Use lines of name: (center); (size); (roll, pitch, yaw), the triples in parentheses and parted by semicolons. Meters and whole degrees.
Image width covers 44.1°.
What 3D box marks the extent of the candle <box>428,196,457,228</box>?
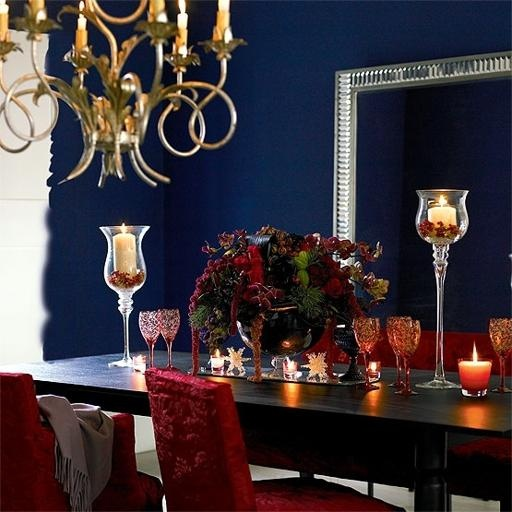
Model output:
candle: (0.545, -0.134, 1.855); (0.072, 0.099, 0.078); (4, 7, 35)

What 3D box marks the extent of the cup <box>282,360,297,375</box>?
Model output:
cup: (0.105, 0.352, 1.990); (0.033, 0.030, 0.033); (0, -1, 0)

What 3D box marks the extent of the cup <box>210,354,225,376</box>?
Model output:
cup: (-0.118, 0.364, 2.097); (0.045, 0.059, 0.045); (1, 1, 0)

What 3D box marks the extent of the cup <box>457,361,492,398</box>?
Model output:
cup: (0.567, 0.316, 1.651); (0.079, 0.105, 0.089); (0, -8, 3)

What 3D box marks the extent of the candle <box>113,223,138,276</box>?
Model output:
candle: (-0.495, -0.010, 2.425); (0.089, 0.163, 0.043); (-1, 3, -17)

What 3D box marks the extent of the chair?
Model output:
chair: (0.017, 0.418, 1.805); (1.401, 0.250, 0.490); (4, 5, 36)

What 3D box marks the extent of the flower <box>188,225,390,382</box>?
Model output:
flower: (0.100, 0.179, 2.072); (0.577, 0.510, 0.525); (-2, -2, -7)

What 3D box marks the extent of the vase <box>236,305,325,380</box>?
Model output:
vase: (0.115, 0.304, 2.063); (0.303, 0.298, 0.341); (2, -2, 12)
